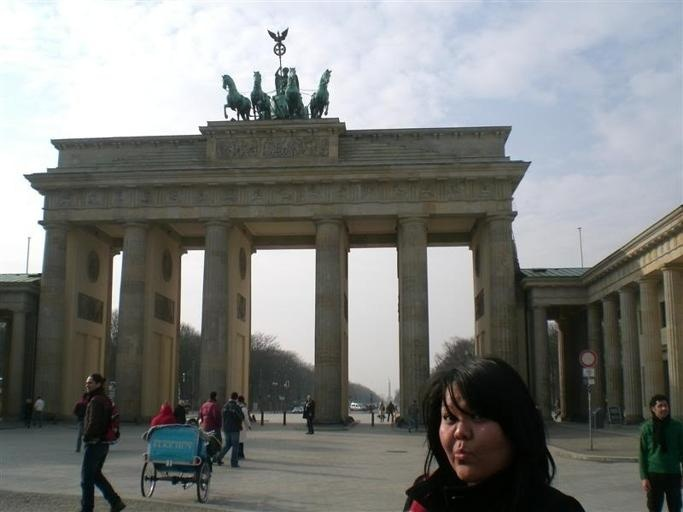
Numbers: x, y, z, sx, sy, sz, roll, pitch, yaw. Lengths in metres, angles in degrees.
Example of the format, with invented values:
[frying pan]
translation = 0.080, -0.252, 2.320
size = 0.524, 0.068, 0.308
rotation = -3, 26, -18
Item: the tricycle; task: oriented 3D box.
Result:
[tricycle]
translation = -3.080, 4.067, 14.429
size = 1.261, 1.280, 1.874
rotation = -1, -10, 10
